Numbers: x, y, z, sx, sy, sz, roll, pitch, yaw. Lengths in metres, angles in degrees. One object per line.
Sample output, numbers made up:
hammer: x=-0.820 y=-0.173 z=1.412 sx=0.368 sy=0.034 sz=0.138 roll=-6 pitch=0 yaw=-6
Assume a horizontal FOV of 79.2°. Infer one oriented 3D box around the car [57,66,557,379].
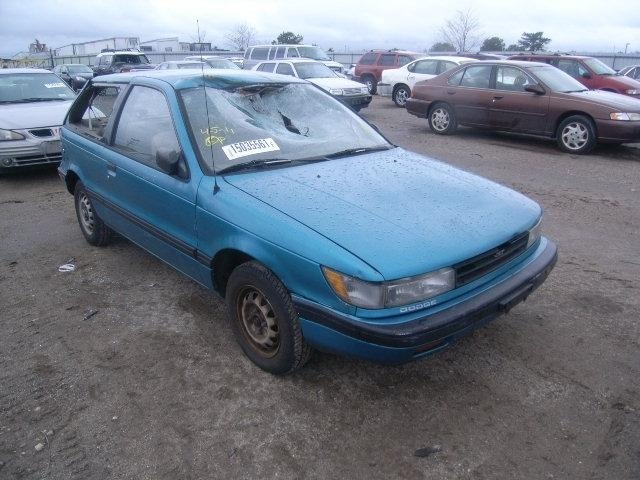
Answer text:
car: x=-0.639 y=-0.497 z=3.514 sx=4.544 sy=1.567 sz=2.171 roll=23 pitch=38 yaw=33
